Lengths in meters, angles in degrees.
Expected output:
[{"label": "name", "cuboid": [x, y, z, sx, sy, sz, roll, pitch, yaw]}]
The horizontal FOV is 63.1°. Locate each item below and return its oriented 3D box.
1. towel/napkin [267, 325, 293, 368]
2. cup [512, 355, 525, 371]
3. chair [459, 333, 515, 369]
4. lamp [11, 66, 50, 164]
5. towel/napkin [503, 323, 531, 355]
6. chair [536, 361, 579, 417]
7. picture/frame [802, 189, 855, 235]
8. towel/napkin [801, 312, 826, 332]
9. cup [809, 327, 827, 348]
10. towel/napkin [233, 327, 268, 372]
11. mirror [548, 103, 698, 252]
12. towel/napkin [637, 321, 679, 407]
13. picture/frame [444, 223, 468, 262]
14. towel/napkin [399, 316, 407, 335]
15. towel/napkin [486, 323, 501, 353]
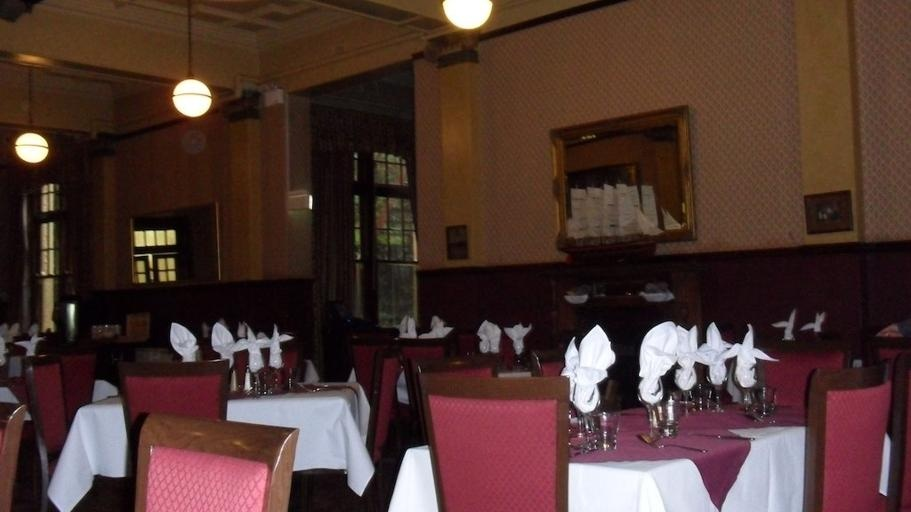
[{"label": "towel/napkin", "cuboid": [-1.601, 0.831, 6.752, 0.204, 0.390, 0.638, -2, -3, -13]}, {"label": "cup", "cuboid": [0.638, 1.107, 7.696, 0.113, 0.130, 0.113, 0, -2, 0]}, {"label": "chair", "cuboid": [0.353, 0.984, 7.846, 0.410, 0.573, 0.446, 3, -8, -23]}, {"label": "lamp", "cuboid": [-7.298, -2.359, 12.765, 0.455, 1.657, 1.617, -1, -3, -30]}, {"label": "towel/napkin", "cuboid": [0.682, 0.877, 7.901, 0.337, 0.347, 0.340, 1, -6, -12]}, {"label": "chair", "cuboid": [0.756, 0.988, 5.899, 0.282, 0.397, 0.315, -6, -17, 13]}, {"label": "picture/frame", "cuboid": [4.001, -0.469, 7.925, 0.474, 0.486, 0.051, -2, 0, 40]}, {"label": "towel/napkin", "cuboid": [3.688, 0.685, 7.601, 0.204, 0.147, 0.942, -4, -3, 26]}, {"label": "cup", "cuboid": [3.343, 0.754, 6.871, 0.131, 0.093, 0.135, 0, 8, 0]}, {"label": "towel/napkin", "cuboid": [-1.788, 0.823, 6.523, 0.349, 0.365, 0.357, -8, -5, 27]}, {"label": "mirror", "cuboid": [2.074, -0.919, 8.892, 1.670, 1.494, 0.185, -7, -7, 31]}, {"label": "towel/napkin", "cuboid": [1.401, 0.738, 5.117, 0.286, 0.549, 0.138, -1, -2, -21]}, {"label": "picture/frame", "cuboid": [0.016, -0.193, 10.125, 0.482, 0.663, 0.089, -4, -7, 40]}, {"label": "towel/napkin", "cuboid": [-0.595, 0.803, 8.446, 0.078, 0.198, 0.234, -2, -3, -5]}, {"label": "towel/napkin", "cuboid": [0.409, 0.860, 7.811, 0.192, 0.269, 0.072, -7, 1, 6]}]
